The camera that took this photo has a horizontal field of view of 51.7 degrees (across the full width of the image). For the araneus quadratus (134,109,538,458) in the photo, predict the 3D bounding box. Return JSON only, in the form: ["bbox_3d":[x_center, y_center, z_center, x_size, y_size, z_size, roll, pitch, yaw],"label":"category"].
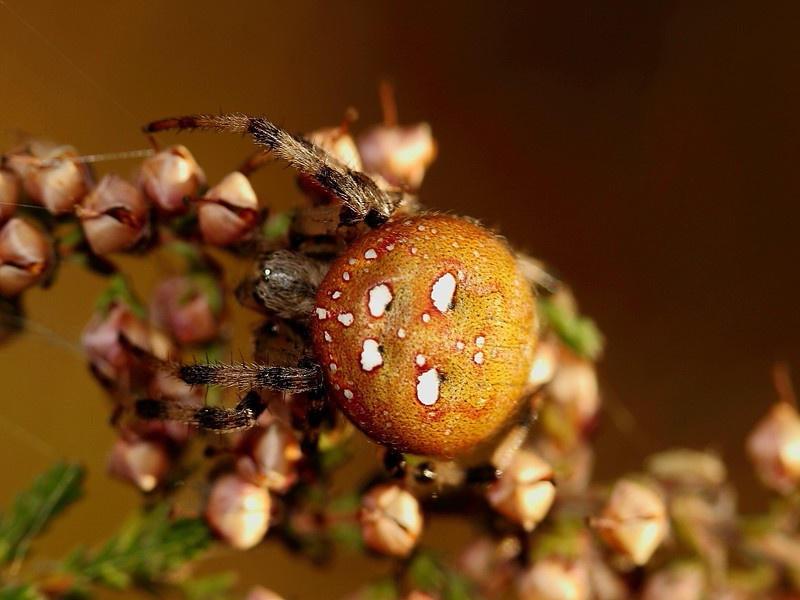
[{"bbox_3d":[-0.068,-0.026,0.993,0.467,0.127,0.376,1,84,-7],"label":"araneus quadratus"}]
